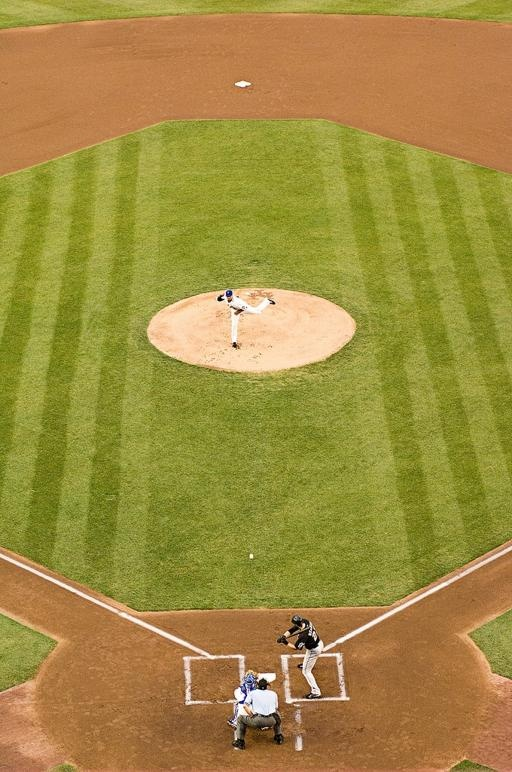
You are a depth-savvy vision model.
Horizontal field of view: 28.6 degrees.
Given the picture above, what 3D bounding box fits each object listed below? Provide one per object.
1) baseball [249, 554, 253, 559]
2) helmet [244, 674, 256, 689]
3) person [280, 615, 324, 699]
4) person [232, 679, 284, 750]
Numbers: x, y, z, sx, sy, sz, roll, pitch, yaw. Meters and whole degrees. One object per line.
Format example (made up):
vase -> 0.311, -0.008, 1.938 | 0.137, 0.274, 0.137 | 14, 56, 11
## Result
baseball -> -0.112, 3.924, 23.178 | 0.084, 0.083, 0.074 | 1, 86, 2
helmet -> -0.102, 5.230, 17.858 | 0.179, 0.209, 0.226 | -13, 50, 2
person -> 0.889, 5.351, 19.638 | 0.719, 1.478, 0.764 | 2, 52, 9
person -> 0.114, 5.811, 17.959 | 0.900, 1.270, 0.700 | -2, 3, -21
